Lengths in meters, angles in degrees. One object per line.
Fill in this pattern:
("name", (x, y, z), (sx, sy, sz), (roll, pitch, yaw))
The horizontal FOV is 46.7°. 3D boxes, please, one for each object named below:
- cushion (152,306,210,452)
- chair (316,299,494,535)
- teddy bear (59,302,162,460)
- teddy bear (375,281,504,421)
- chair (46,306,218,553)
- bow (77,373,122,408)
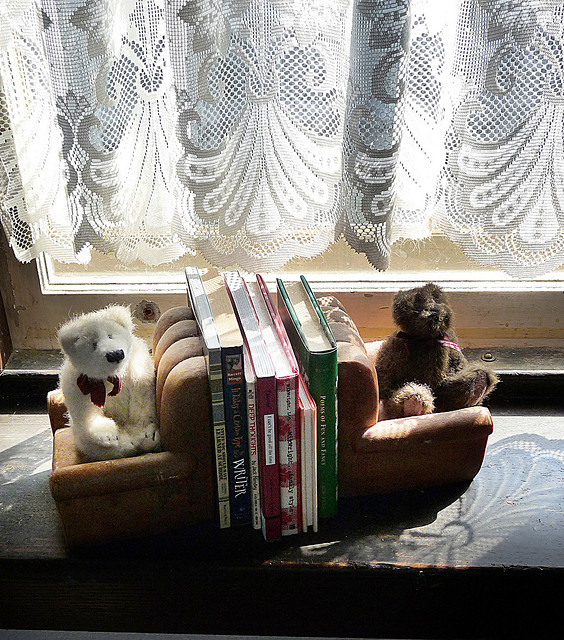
("cushion", (-0.138, 0.090, 0.903), (0.062, 0.144, 0.156), (-6, 45, -10))
("chair", (0.218, 0.143, 1.075), (0.174, 0.184, 0.287), (2, 9, -4))
("teddy bear", (-0.242, 0.095, 0.942), (0.131, 0.216, 0.151), (5, 19, 43))
("teddy bear", (0.229, 0.047, 1.032), (0.191, 0.203, 0.145), (-5, 14, -21))
("chair", (-0.230, 0.155, 0.980), (0.260, 0.246, 0.275), (-11, 22, -20))
("bow", (-0.254, 0.096, 0.903), (0.020, 0.053, 0.049), (-5, 58, 46))
